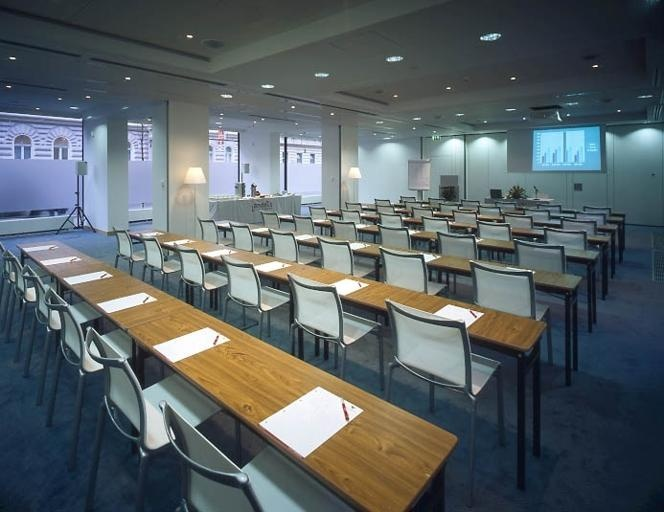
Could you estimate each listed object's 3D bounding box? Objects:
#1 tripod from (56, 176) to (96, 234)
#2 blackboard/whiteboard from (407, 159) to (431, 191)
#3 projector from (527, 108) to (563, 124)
[{"bbox_3d":[-7.472,-1.632,12.925,0.914,1.758,0.907,-1,-2,1],"label":"tripod"},{"bbox_3d":[3.154,-2.916,16.065,0.727,1.020,0.355,1,11,9],"label":"blackboard/whiteboard"},{"bbox_3d":[5.745,-3.789,11.908,0.677,0.351,1.526,5,13,29],"label":"projector"}]
